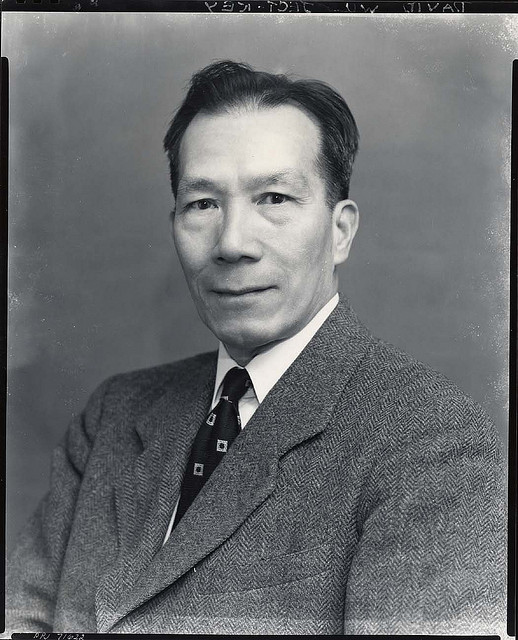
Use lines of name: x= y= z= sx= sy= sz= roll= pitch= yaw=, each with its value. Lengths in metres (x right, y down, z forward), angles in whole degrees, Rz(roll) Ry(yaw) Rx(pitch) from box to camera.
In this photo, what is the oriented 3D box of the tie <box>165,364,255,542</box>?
tie: x=-0.102 y=0.311 z=2.255 sx=0.130 sy=0.600 sz=0.058 roll=1 pitch=-22 yaw=37
